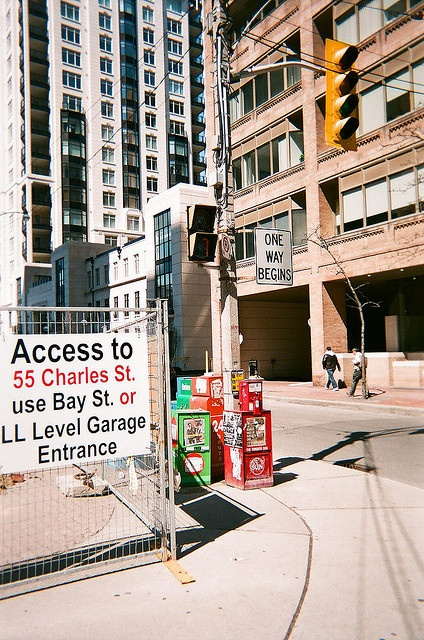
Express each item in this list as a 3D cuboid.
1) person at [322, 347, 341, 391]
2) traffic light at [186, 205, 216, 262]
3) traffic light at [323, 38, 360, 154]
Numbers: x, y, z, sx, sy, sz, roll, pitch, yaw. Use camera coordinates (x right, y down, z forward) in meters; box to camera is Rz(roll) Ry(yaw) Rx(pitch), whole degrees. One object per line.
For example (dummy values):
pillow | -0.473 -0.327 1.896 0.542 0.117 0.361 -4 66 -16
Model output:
person | 4.183 1.712 22.476 0.486 1.491 1.638 -2 -2 13
traffic light | -0.114 -1.071 7.839 0.390 0.715 0.407 -1 -2 -10
traffic light | 1.473 -2.617 7.229 0.385 1.302 0.626 -2 -2 11
